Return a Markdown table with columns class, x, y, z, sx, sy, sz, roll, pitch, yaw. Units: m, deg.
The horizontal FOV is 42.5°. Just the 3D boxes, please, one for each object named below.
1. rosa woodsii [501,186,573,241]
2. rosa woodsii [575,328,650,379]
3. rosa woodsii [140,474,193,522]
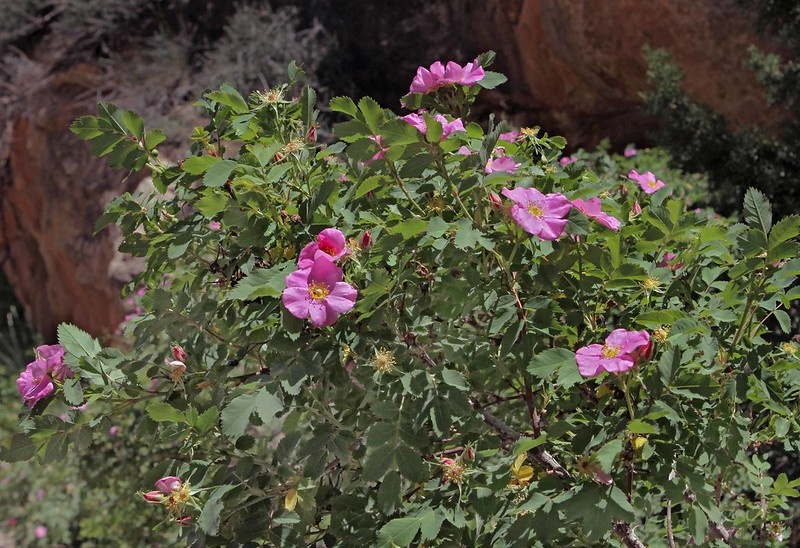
| class | x | y | z | sx | sy | sz | roll | pitch | yaw |
| --- | --- | --- | --- | --- | --- | --- | --- | --- | --- |
| rosa woodsii | 0.734 | -0.337 | 5.465 | 0.289 | 0.123 | 0.295 | 35 | 36 | 9 |
| rosa woodsii | 1.136 | 0.407 | 5.421 | 0.414 | 0.160 | 0.346 | -19 | 10 | -32 |
| rosa woodsii | -1.267 | 1.230 | 5.644 | 0.266 | 0.125 | 0.277 | 6 | 68 | -19 |
